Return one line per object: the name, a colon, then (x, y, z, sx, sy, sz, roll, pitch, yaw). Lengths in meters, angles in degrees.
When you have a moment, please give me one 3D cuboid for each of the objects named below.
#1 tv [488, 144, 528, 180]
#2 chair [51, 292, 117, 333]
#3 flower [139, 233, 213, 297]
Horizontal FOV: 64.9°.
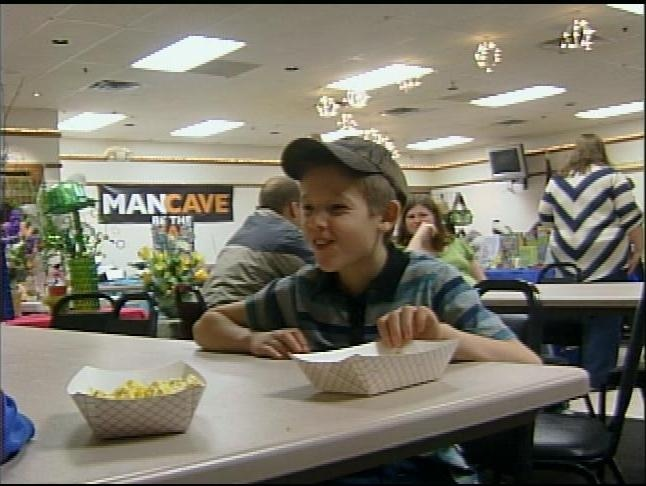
tv: (3.845, -1.667, 10.480, 0.455, 0.664, 0.829, -21, 14, -40)
chair: (-1.088, 0.325, 2.296, 0.377, 0.203, 0.248, 1, -6, -12)
flower: (-0.647, 0.093, 2.138, 0.281, 0.258, 0.271, -3, 1, -40)
